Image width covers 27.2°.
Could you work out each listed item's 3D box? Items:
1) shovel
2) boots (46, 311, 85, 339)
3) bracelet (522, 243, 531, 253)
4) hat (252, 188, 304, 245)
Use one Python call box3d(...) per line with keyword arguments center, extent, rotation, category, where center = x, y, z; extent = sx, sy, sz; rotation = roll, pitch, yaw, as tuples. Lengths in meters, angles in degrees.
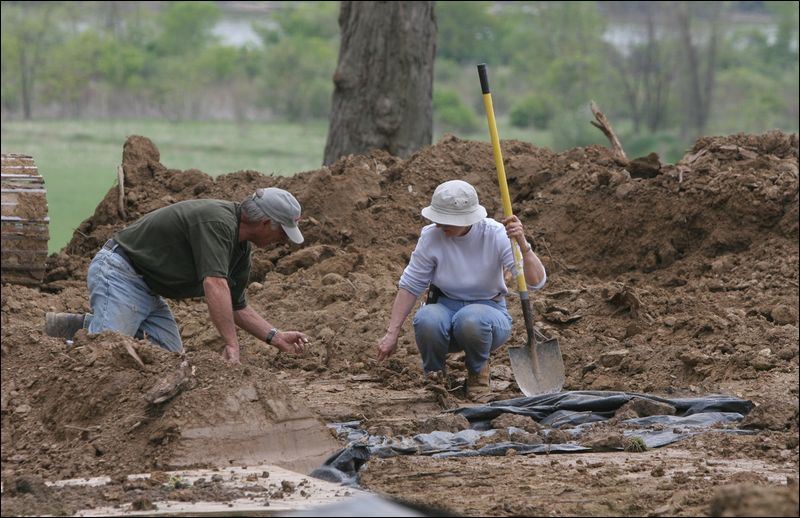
box3d(center=(1.886, -0.442, 25.110), extent=(1.289, 4.938, 1.395), rotation=(-1, 3, -21), category="shovel")
box3d(center=(-5.067, 1.084, 25.163), extent=(0.674, 0.496, 0.377), rotation=(2, 6, 1), category="boots")
box3d(center=(1.939, -0.177, 24.852), extent=(0.100, 0.141, 0.078), rotation=(-22, -38, 8), category="bracelet")
box3d(center=(-1.696, -0.693, 24.755), extent=(0.886, 0.438, 0.592), rotation=(41, 12, -9), category="hat")
